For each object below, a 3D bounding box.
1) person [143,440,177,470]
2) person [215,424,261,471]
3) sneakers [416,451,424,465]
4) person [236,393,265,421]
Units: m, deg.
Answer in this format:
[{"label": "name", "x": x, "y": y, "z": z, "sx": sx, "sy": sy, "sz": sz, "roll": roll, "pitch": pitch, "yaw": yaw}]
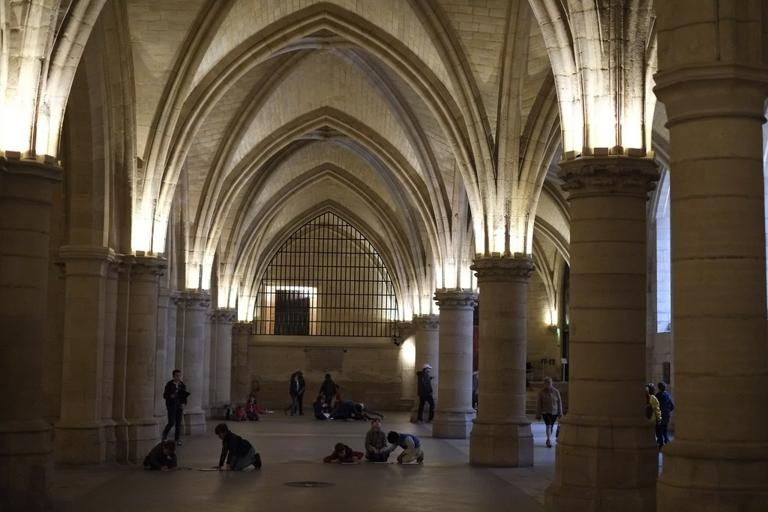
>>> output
[{"label": "person", "x": -4.465, "y": 4.048, "z": 16.271, "sx": 0.395, "sy": 0.385, "sz": 0.929, "roll": 19, "pitch": -25, "yaw": -24}, {"label": "person", "x": -3.022, "y": 3.808, "z": 16.205, "sx": 1.051, "sy": 0.921, "sz": 0.852, "roll": 6, "pitch": -9, "yaw": -35}, {"label": "sneakers", "x": 0.791, "y": 4.396, "z": 17.741, "sx": 0.168, "sy": 0.277, "sz": 0.426, "roll": 1, "pitch": -7, "yaw": 2}, {"label": "person", "x": -4.874, "y": 5.511, "z": 29.404, "sx": 0.713, "sy": 0.834, "sz": 1.281, "roll": -1, "pitch": -7, "yaw": 12}]
